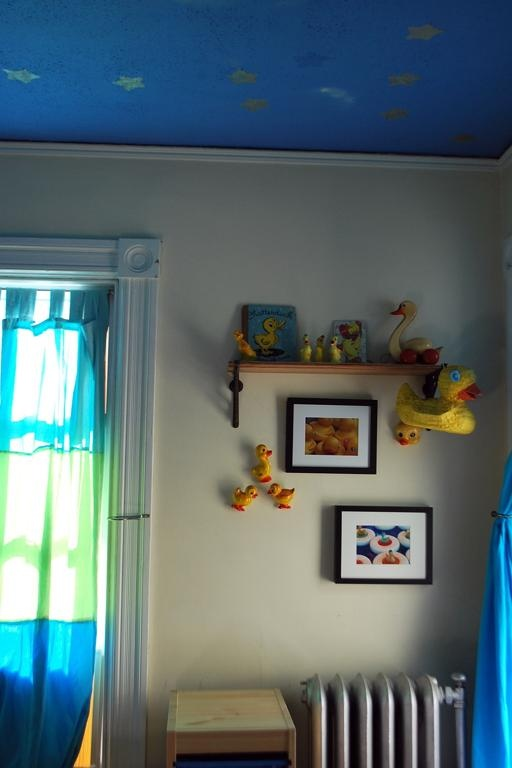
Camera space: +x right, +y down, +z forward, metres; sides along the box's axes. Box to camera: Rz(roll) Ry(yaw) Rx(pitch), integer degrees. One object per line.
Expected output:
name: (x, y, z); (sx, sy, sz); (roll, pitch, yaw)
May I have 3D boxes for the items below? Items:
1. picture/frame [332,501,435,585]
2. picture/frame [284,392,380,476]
picture/frame: (0.457, 0.585, 2.474); (0.282, 0.243, 0.013); (1, -11, -4)
picture/frame: (0.274, 0.195, 2.512); (0.281, 0.242, 0.021); (1, -7, -4)
